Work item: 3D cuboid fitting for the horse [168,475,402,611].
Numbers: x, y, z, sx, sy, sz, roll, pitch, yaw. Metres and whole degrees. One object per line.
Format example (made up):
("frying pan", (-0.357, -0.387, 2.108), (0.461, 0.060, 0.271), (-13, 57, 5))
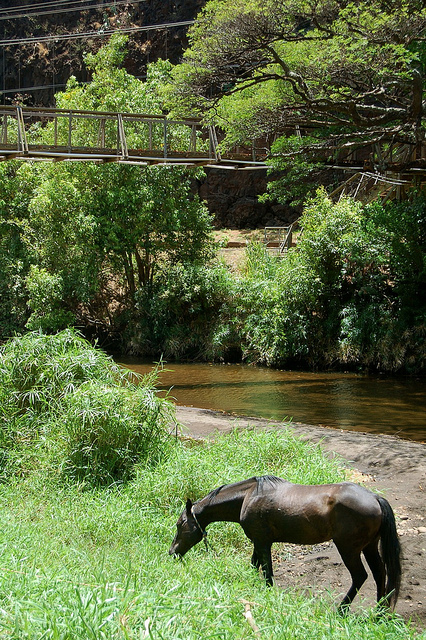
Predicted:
("horse", (0.360, 1.172, 3.698), (1.217, 0.616, 0.283), (-4, -9, 19))
